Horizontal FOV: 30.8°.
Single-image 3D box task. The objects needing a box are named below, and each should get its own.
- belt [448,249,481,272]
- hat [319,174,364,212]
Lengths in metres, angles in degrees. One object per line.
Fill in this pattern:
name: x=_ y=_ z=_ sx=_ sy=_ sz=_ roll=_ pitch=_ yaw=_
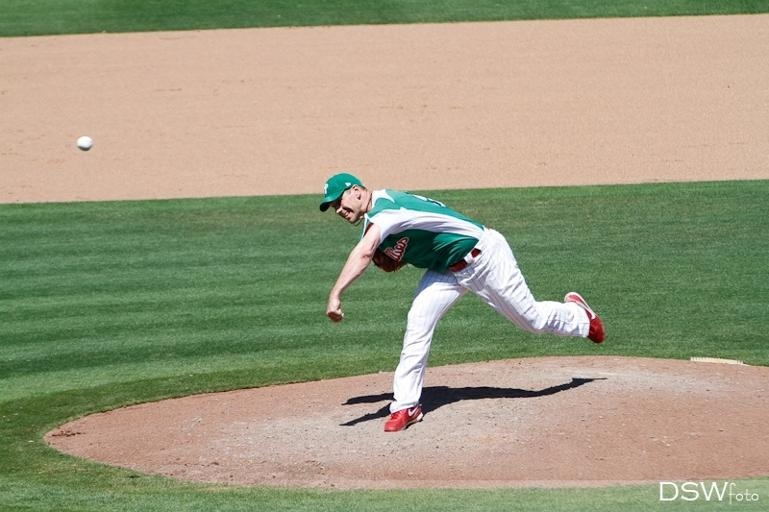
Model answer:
belt: x=1.267 y=0.066 z=21.973 sx=0.433 sy=0.149 sz=0.330 roll=-37 pitch=-6 yaw=29
hat: x=-0.764 y=-1.019 z=22.005 sx=0.680 sy=0.565 sz=0.539 roll=-6 pitch=13 yaw=-18
